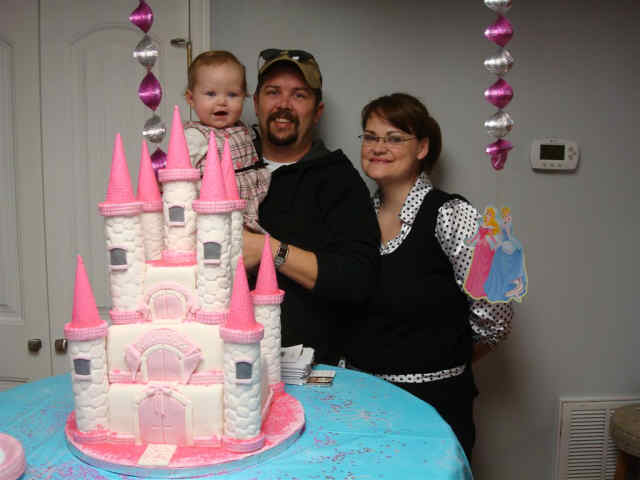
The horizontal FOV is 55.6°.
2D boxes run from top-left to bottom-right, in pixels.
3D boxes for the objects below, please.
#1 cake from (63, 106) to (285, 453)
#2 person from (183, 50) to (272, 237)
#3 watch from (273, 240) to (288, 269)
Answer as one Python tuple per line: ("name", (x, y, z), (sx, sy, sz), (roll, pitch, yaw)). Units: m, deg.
("cake", (-0.552, 0.162, 2.425), (0.869, 1.167, 0.912), (-7, 4, -42))
("person", (-0.497, -0.449, 3.169), (0.415, 0.969, 0.487), (0, 11, 40))
("watch", (-0.185, 0.072, 2.909), (0.065, 0.110, 0.103), (23, -17, -8))
